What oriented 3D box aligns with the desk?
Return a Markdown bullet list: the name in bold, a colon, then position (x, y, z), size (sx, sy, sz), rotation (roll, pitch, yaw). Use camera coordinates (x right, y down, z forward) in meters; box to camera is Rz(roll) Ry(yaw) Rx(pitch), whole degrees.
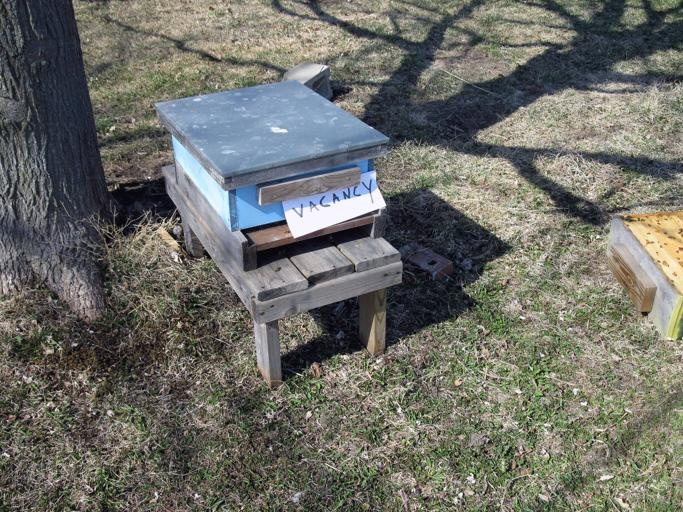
- **desk**: position (-0.595, 0.030, 5.358), size (1.212, 0.867, 2.537), rotation (-13, 28, -23)
